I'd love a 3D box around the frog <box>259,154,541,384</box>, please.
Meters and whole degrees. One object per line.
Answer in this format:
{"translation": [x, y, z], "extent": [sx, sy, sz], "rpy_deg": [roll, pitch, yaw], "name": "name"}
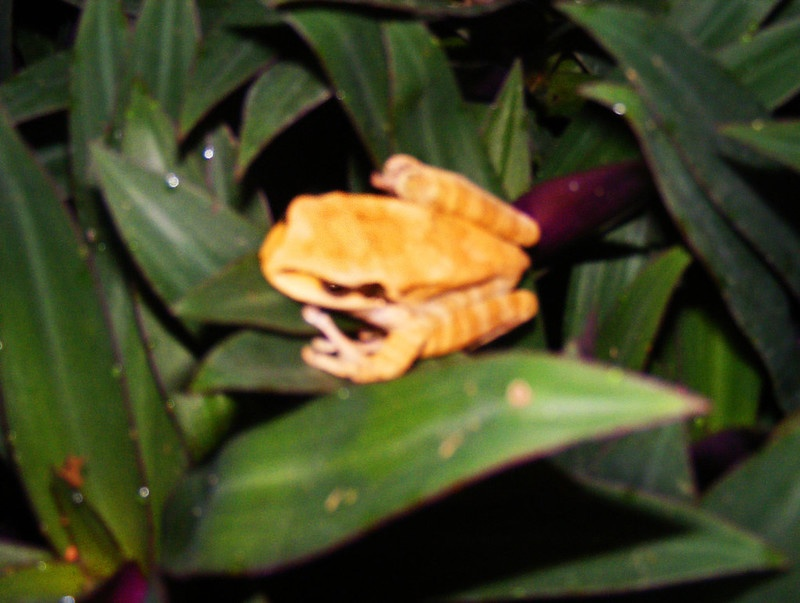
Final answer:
{"translation": [-0.016, -0.049, 1.020], "extent": [0.097, 0.281, 0.249], "rpy_deg": [10, 72, 30], "name": "frog"}
